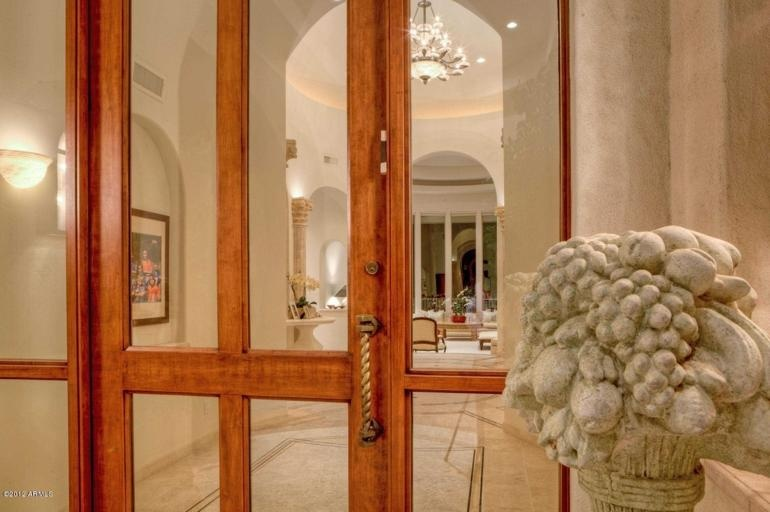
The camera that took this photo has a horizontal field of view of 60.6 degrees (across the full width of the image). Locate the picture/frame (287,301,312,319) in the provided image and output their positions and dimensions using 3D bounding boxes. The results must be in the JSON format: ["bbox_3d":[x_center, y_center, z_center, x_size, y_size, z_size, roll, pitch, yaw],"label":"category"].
[{"bbox_3d":[-0.319,0.209,2.526,0.112,0.061,0.021,-5,-5,31],"label":"picture/frame"}]

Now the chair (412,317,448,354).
[{"bbox_3d":[0.157,0.296,2.464,0.125,0.190,0.130,0,0,20],"label":"chair"}]
